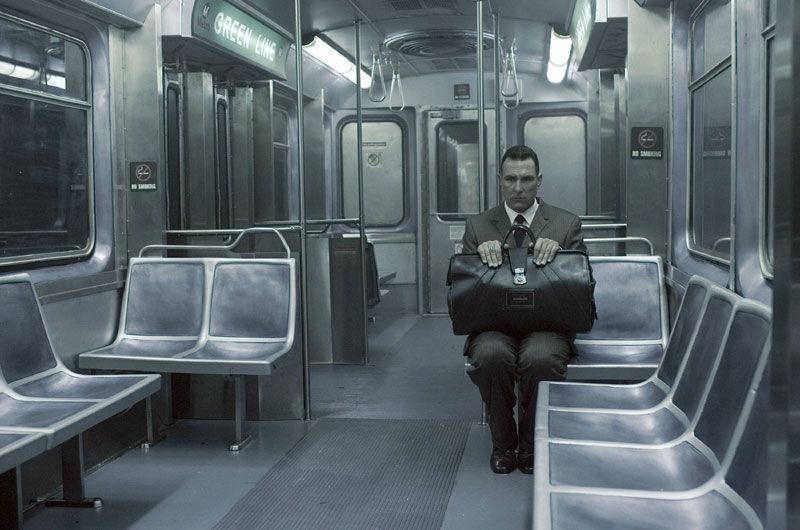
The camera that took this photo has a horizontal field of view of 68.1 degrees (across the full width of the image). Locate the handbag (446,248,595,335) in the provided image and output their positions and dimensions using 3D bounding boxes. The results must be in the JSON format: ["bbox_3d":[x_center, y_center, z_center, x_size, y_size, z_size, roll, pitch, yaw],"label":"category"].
[{"bbox_3d":[0.671,0.114,3.366,0.808,0.520,0.315,-2,0,9],"label":"handbag"}]

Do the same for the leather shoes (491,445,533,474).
[{"bbox_3d":[0.587,1.130,3.434,0.336,0.142,0.112,3,-2,-10],"label":"leather shoes"}]

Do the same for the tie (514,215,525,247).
[{"bbox_3d":[0.715,-0.200,3.571,0.059,0.234,0.062,3,11,9],"label":"tie"}]

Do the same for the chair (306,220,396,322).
[{"bbox_3d":[-0.387,-0.017,6.367,1.179,1.211,0.932,-1,5,-8],"label":"chair"}]
